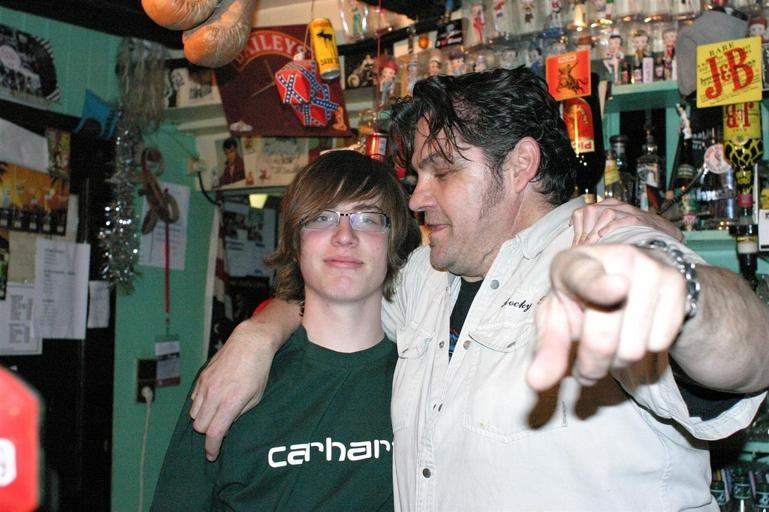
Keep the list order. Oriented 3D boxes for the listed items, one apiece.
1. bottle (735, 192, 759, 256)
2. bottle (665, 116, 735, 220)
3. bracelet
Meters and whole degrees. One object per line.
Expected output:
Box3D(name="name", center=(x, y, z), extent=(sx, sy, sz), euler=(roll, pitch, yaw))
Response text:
Box3D(name="bottle", center=(1.763, -0.141, 3.332), extent=(0.115, 0.382, 0.119), euler=(-2, 0, 0))
Box3D(name="bottle", center=(1.631, -0.500, 3.546), extent=(0.342, 0.467, 0.483), euler=(2, 2, 11))
Box3D(name="bracelet", center=(0.824, 0.095, 1.934), extent=(0.207, 0.274, 0.077), euler=(-1, -1, 28))
